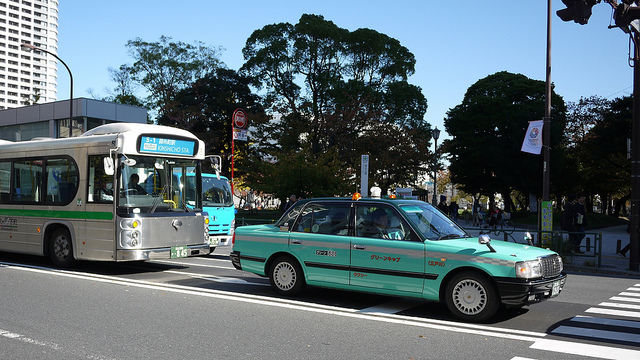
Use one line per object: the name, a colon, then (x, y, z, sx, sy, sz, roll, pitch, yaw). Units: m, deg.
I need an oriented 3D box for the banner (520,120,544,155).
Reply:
banner: (9.852, -1.994, 22.228, 0.755, 1.522, 0.925, 2, 4, 22)

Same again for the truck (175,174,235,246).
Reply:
truck: (-4.272, 0.997, 18.664, 1.717, 1.793, 3.039, 1, -4, -28)

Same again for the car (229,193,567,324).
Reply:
car: (1.715, 1.951, 13.494, 9.062, 2.818, 3.282, -2, -3, 28)

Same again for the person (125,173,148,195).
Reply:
person: (-5.994, 0.128, 15.699, 0.629, 0.691, 0.167, -1, 4, -22)

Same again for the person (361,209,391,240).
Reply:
person: (1.507, 1.218, 12.780, 0.563, 0.649, 0.979, -12, -13, 22)

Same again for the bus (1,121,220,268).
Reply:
bus: (-7.541, 0.331, 16.292, 11.681, 4.424, 3.710, -1, -1, 30)
